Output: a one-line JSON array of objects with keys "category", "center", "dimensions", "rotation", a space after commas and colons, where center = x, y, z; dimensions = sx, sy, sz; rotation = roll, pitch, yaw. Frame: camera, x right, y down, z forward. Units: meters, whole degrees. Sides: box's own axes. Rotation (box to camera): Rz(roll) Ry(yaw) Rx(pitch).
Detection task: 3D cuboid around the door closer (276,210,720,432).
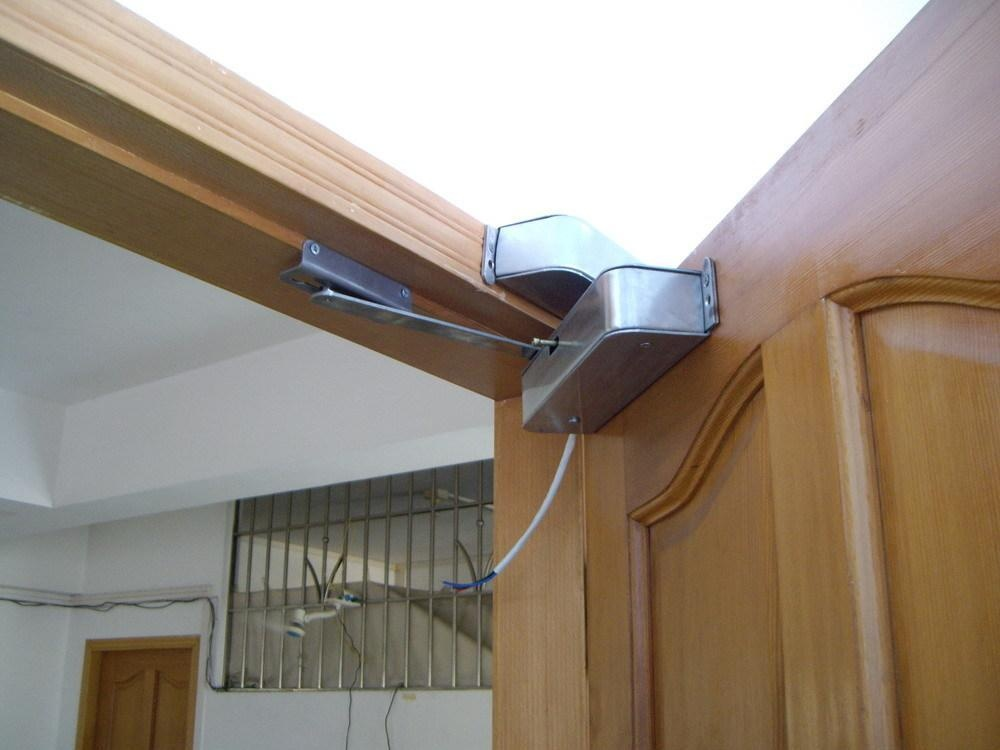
[{"category": "door closer", "center": [0.009, -0.085, 0.973], "dimensions": [0.442, 0.229, 0.263], "rotation": [17, -35, -18]}]
